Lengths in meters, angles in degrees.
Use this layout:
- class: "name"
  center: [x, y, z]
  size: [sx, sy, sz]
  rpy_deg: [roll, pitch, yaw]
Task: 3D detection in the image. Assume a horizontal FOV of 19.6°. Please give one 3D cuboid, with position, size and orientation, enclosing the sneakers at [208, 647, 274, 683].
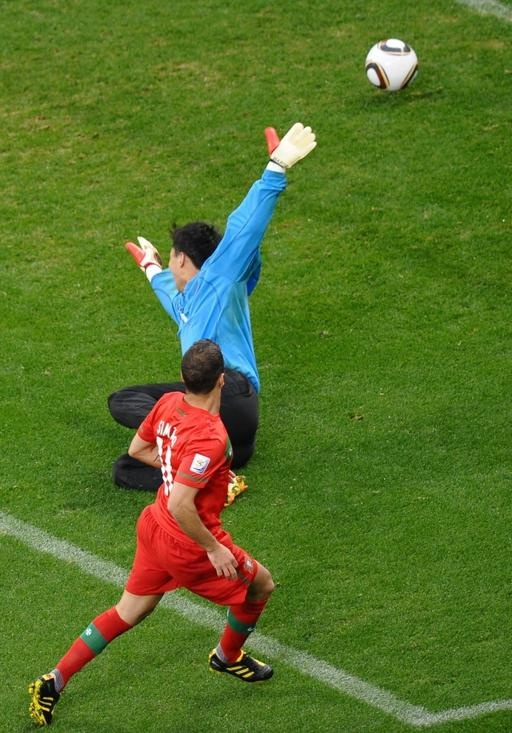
- class: "sneakers"
  center: [-0.062, 1.580, 7.830]
  size: [0.363, 0.173, 0.145]
  rpy_deg: [16, 13, -8]

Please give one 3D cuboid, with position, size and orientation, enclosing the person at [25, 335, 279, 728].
- class: "person"
  center: [-0.560, 0.991, 8.134]
  size: [1.253, 1.898, 0.784]
  rpy_deg: [-20, 44, -30]

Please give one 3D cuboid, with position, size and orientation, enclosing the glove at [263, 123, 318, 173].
- class: "glove"
  center: [0.233, -1.269, 8.845]
  size: [0.281, 0.085, 0.316]
  rpy_deg: [41, 77, 15]

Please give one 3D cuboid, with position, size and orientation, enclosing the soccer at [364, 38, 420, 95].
- class: "soccer"
  center: [1.143, -2.460, 12.290]
  size: [0.393, 0.410, 0.389]
  rpy_deg: [7, 10, -46]

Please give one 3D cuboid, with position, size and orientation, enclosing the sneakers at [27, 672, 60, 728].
- class: "sneakers"
  center: [-1.071, 1.697, 7.512]
  size: [0.113, 0.334, 0.159]
  rpy_deg: [15, 37, 30]
